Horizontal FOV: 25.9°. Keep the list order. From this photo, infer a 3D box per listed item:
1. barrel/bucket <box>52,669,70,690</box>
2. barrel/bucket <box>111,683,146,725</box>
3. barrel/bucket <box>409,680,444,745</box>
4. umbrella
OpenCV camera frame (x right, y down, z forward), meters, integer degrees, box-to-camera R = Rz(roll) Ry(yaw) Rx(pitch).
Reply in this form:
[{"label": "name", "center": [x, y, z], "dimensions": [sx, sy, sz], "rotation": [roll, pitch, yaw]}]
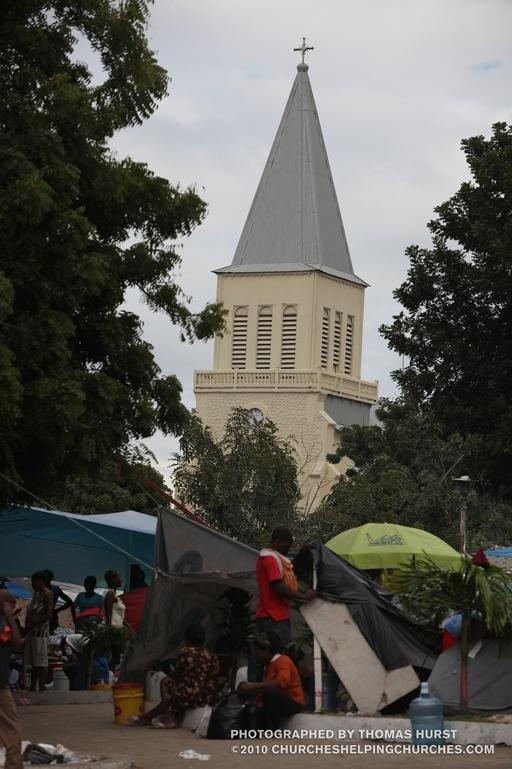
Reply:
[{"label": "barrel/bucket", "center": [-2.301, 3.498, 13.200], "dimensions": [0.216, 0.229, 0.214], "rotation": [0, -10, 0]}, {"label": "barrel/bucket", "center": [-1.073, 2.768, 9.744], "dimensions": [0.334, 0.318, 0.323], "rotation": [-1, -7, 0]}, {"label": "barrel/bucket", "center": [1.190, 2.302, 7.797], "dimensions": [0.227, 0.426, 0.324], "rotation": [2, -11, 9]}, {"label": "umbrella", "center": [1.706, 1.995, 13.768], "dimensions": [1.543, 0.594, 1.505], "rotation": [2, -10, 7]}]
